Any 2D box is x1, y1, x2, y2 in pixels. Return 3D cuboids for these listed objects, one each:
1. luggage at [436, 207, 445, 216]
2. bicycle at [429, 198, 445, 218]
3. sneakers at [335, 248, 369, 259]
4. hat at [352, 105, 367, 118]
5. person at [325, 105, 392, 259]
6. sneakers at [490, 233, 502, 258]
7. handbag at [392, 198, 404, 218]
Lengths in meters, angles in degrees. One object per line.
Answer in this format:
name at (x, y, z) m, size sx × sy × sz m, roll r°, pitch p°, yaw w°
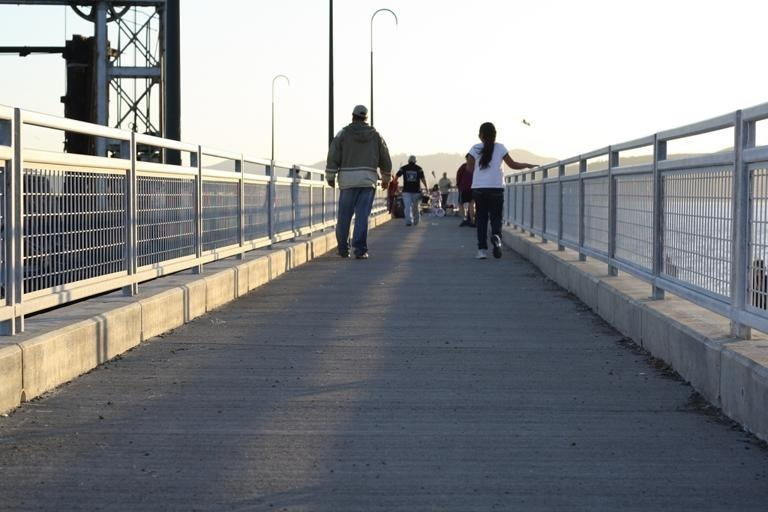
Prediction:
luggage at (2.786, -2.186, 42.298) m, size 0.382 × 0.447 × 0.461 m, roll -6°, pitch 13°, yaw -5°
bicycle at (2.756, -2.502, 44.632) m, size 0.706 × 0.642 × 2.144 m, roll 6°, pitch 4°, yaw -2°
sneakers at (-0.544, -0.053, 15.421) m, size 0.545 × 0.291 × 0.206 m, roll 0°, pitch 6°, yaw 11°
hat at (-0.379, -2.411, 14.680) m, size 0.232 × 0.198 × 0.425 m, roll -1°, pitch 9°, yaw -6°
person at (-0.426, -1.232, 14.891) m, size 1.072 × 2.601 × 0.891 m, roll -1°, pitch 6°, yaw -5°
sneakers at (1.916, -0.201, 15.068) m, size 0.139 × 0.451 × 0.184 m, roll -2°, pitch 30°, yaw 20°
handbag at (0.642, -2.122, 37.757) m, size 0.580 × 1.046 × 0.524 m, roll -1°, pitch 11°, yaw 6°
